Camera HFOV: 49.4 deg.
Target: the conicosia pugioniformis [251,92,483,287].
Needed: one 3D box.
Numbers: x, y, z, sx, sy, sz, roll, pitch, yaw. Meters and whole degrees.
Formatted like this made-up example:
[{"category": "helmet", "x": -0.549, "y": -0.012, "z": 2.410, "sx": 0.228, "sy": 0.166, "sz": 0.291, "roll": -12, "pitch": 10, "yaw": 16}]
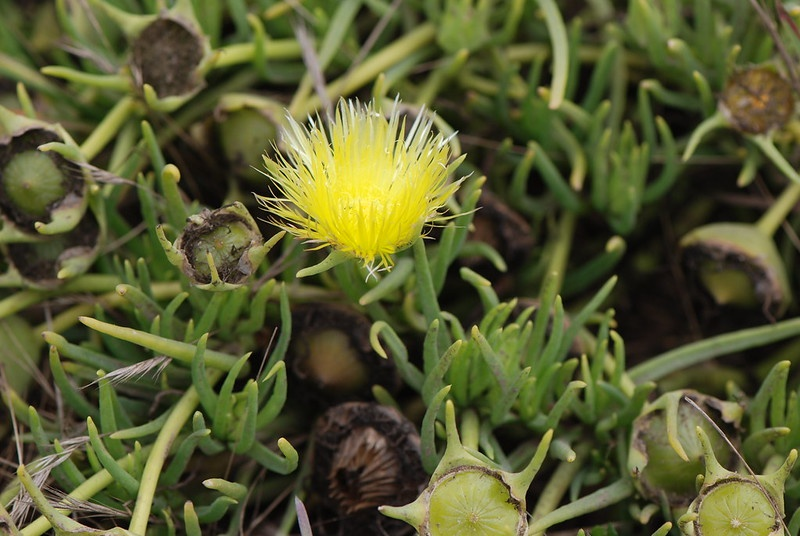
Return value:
[{"category": "conicosia pugioniformis", "x": -0.046, "y": -0.099, "z": 1.094, "sx": 0.273, "sy": 0.264, "sz": 0.181, "roll": 18, "pitch": 74, "yaw": -32}]
